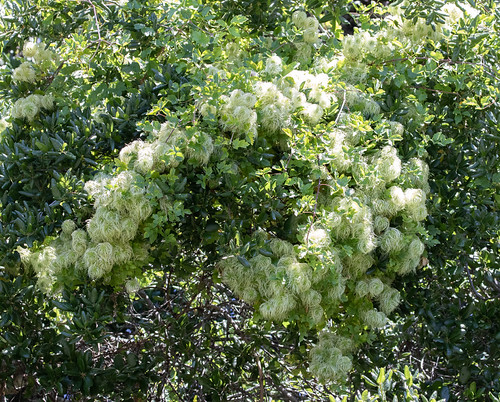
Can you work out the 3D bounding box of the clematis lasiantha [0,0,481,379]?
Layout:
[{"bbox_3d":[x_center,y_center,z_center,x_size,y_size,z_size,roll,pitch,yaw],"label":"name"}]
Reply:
[{"bbox_3d":[0.145,-0.087,6.301,2.017,1.207,2.126,5,81,5],"label":"clematis lasiantha"}]
